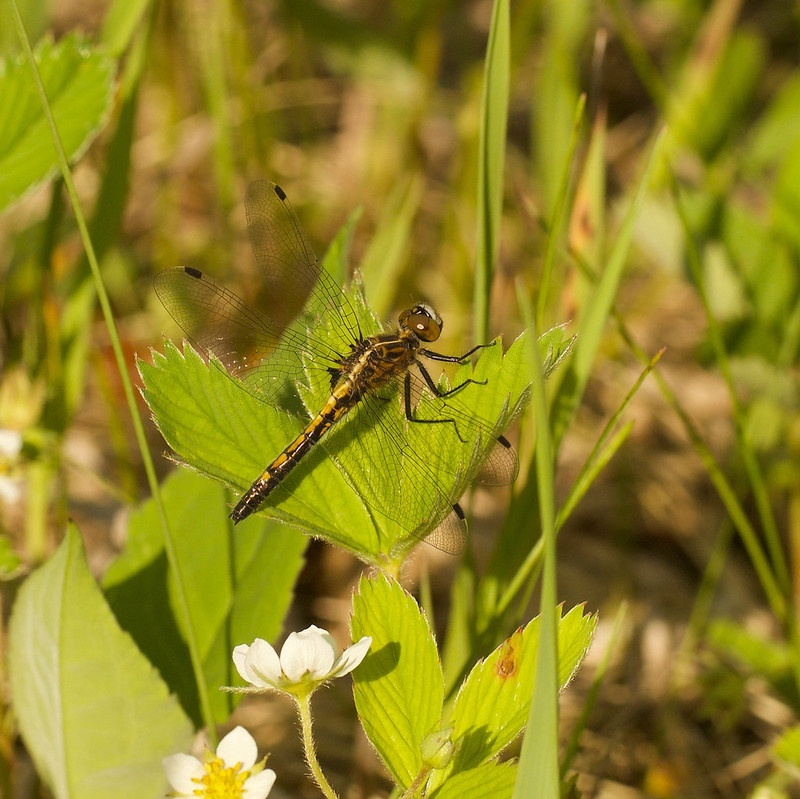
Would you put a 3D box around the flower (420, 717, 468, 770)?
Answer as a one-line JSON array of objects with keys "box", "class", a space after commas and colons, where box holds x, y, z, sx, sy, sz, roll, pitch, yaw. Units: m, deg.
[{"box": [0.073, 0.569, 1.696, 0.090, 0.070, 0.034, -49, -10, 2], "class": "flower"}]

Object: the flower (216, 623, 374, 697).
[{"box": [-0.194, 0.460, 1.797, 0.288, 0.137, 0.226, 7, -12, -42], "class": "flower"}]
